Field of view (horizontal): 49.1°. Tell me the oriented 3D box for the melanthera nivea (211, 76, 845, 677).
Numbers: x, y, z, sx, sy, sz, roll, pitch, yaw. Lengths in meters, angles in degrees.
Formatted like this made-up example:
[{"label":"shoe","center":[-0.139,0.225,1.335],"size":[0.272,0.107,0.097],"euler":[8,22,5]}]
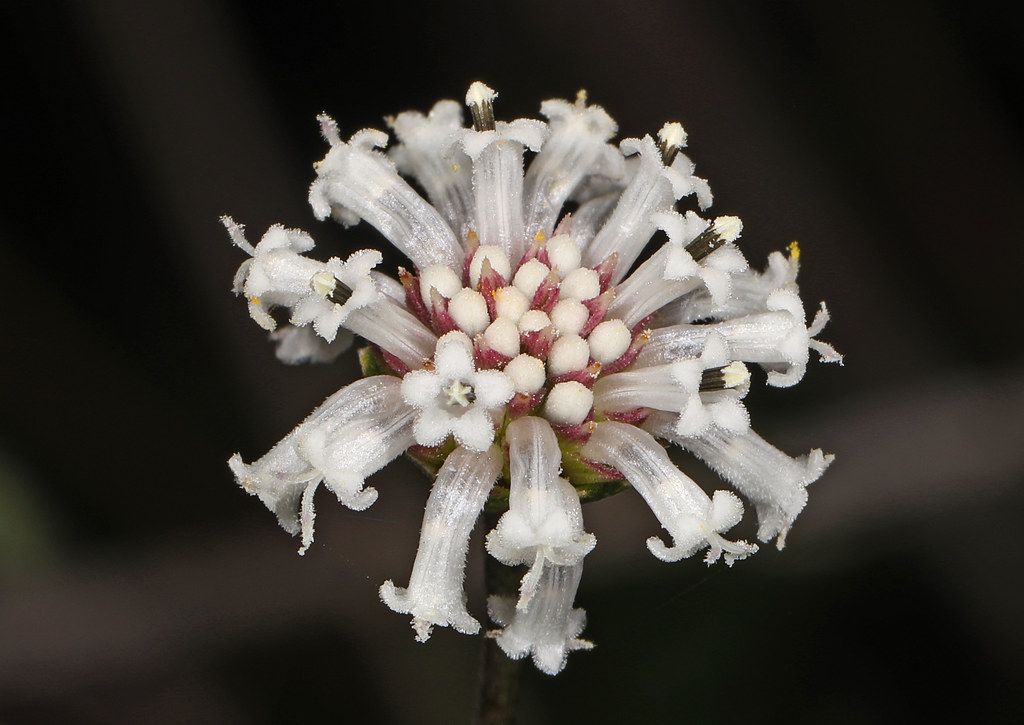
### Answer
[{"label":"melanthera nivea","center":[0.090,0.000,4.513],"size":[2.244,1.954,1.725],"euler":[-16,32,-4]}]
